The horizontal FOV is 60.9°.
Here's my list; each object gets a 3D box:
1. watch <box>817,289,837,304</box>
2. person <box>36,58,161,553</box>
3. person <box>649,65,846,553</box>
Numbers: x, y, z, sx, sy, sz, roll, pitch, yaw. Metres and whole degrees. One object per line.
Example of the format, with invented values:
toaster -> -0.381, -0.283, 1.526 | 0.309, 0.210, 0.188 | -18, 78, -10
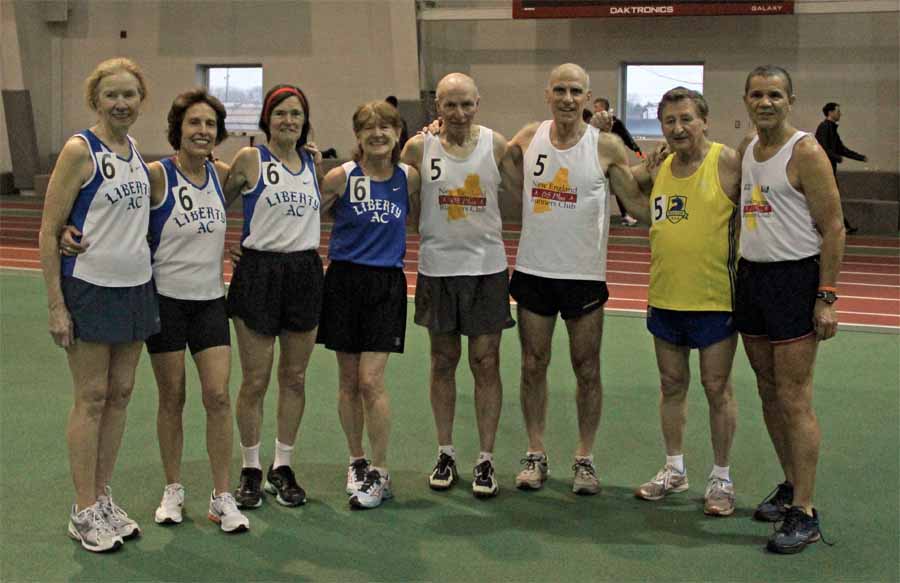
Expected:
watch -> 2.325, 0.028, 4.694 | 0.105, 0.068, 0.097 | 2, 12, -44
person -> -2.086, 0.083, 4.601 | 0.617, 2.934, 0.323 | -4, 7, -23
person -> 2.148, 0.061, 4.843 | 0.523, 2.967, 0.700 | -2, 6, -6
